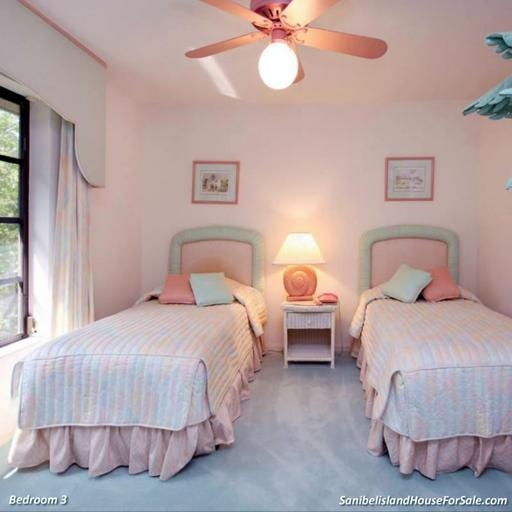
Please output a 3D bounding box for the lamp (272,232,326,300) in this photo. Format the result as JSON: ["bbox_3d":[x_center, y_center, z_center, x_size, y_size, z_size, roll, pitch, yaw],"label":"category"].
[{"bbox_3d":[0.429,0.093,4.380,0.580,0.757,0.579,0,2,4],"label":"lamp"}]

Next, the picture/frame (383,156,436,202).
[{"bbox_3d":[1.540,-0.770,4.347,0.414,0.450,0.033,0,3,6],"label":"picture/frame"}]

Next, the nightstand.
[{"bbox_3d":[0.492,0.700,4.151,0.491,0.573,0.555,0,7,3],"label":"nightstand"}]

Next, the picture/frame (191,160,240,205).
[{"bbox_3d":[-0.395,-0.771,4.524,0.418,0.401,0.031,1,-1,2],"label":"picture/frame"}]
